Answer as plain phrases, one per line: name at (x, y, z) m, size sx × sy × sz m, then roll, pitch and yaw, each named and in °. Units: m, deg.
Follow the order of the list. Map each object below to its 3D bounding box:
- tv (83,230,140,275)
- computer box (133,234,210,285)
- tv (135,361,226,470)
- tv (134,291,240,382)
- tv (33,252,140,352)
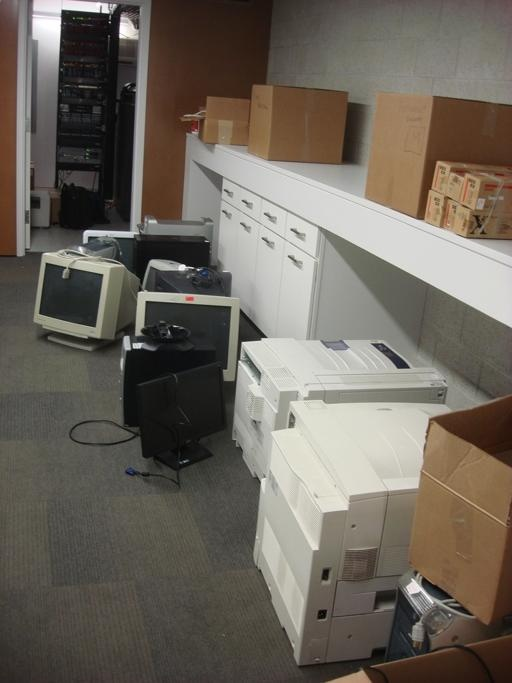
tv at (-1.063, -0.653, 3.699) m, size 0.334 × 0.323 × 0.193 m, roll 11°, pitch 23°, yaw 12°
computer box at (-0.649, -0.677, 3.828) m, size 0.554 × 0.434 × 0.329 m, roll 0°, pitch 22°, yaw -6°
tv at (-0.302, 0.331, 2.221) m, size 0.379 × 0.396 × 0.170 m, roll -12°, pitch 17°, yaw -23°
tv at (-0.376, -0.149, 2.951) m, size 0.666 × 0.700 × 0.417 m, roll 2°, pitch 14°, yaw -9°
tv at (-1.184, -0.326, 3.431) m, size 0.538 × 0.558 × 0.595 m, roll 7°, pitch 20°, yaw -8°
